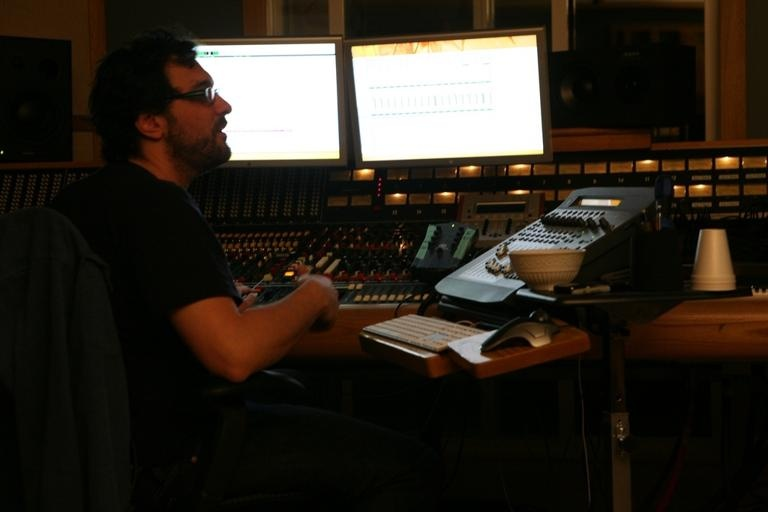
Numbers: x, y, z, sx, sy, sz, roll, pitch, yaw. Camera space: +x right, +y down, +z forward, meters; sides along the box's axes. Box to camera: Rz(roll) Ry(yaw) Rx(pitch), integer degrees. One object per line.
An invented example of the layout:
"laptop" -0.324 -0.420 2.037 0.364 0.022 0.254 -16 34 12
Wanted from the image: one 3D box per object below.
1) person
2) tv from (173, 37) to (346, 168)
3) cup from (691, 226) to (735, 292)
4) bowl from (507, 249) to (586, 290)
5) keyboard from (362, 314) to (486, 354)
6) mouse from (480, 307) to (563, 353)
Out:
"person" -0.461 -0.024 2.558 1.342 2.023 1.054 -6 6 -22
"tv" -0.427 -0.579 2.295 0.688 0.503 0.067 0 9 2
"cup" 0.871 0.004 1.711 0.103 0.158 0.109 -3 7 0
"bowl" 0.442 0.037 1.749 0.208 0.098 0.197 -2 0 0
"keyboard" 0.108 0.206 1.766 0.103 0.024 0.188 -20 18 -35
"mouse" 0.343 0.188 1.626 0.239 0.077 0.082 -11 8 -26
